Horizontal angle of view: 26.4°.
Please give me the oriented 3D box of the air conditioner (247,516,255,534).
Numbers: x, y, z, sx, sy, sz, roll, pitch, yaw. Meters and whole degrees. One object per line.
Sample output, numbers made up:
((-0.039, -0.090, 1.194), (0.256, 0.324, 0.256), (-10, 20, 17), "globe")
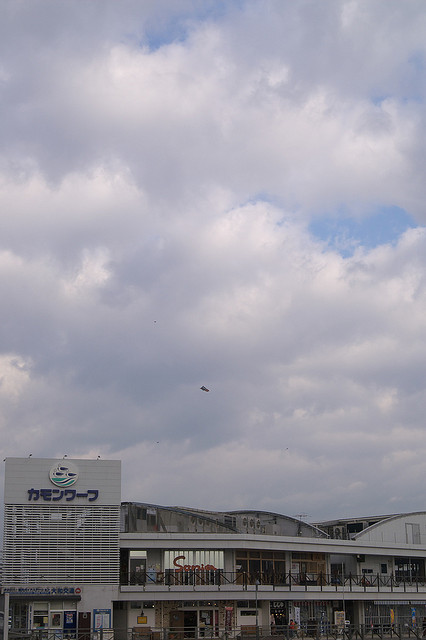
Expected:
((3.212, 17.041, 75.771), (0.458, 1.204, 0.934), (-13, -18, 27), "air conditioner")

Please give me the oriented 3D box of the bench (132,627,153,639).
((-4.902, 21.884, 63.927), (1.440, 0.748, 0.663), (0, -17, -17), "bench")

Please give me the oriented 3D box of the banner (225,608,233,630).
((1.202, 21.611, 66.462), (0.596, 1.238, 0.247), (-4, -16, -1), "banner")

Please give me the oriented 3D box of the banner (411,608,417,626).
((16.754, 24.337, 75.337), (0.652, 1.102, 0.118), (10, -22, -42), "banner")
